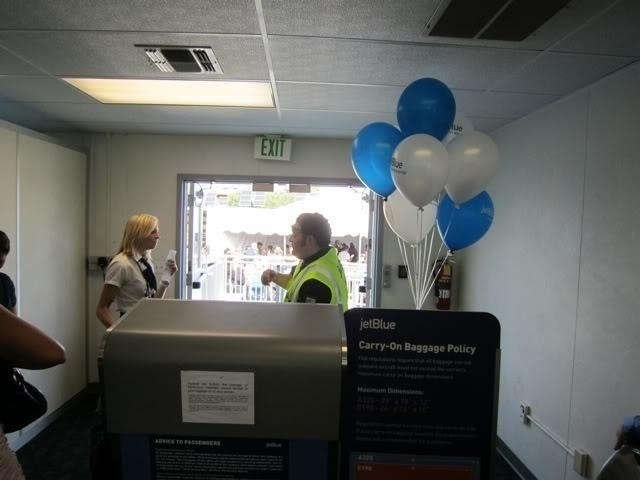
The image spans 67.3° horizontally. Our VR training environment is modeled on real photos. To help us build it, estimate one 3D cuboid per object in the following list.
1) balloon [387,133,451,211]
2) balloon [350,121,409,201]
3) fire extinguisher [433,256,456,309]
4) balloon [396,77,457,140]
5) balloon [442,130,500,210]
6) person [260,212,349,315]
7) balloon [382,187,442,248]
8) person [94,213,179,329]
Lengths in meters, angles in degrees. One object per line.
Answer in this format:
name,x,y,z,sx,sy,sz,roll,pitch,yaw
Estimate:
balloon,0.542,-0.367,2.580,0.329,0.451,0.340,10,16,44
balloon,0.370,-0.469,2.861,0.332,0.465,0.363,-5,1,-10
fire extinguisher,1.161,0.422,4.522,0.185,0.519,0.460,4,4,16
balloon,0.593,-0.697,2.675,0.328,0.421,0.346,0,-5,23
balloon,0.804,-0.357,2.640,0.248,0.344,0.262,16,4,10
person,-0.085,0.132,3.084,0.519,1.065,0.579,2,1,7
balloon,0.589,-0.135,3.084,0.298,0.336,0.317,-2,-5,33
person,-1.424,0.195,3.575,0.304,0.758,0.483,6,4,40
